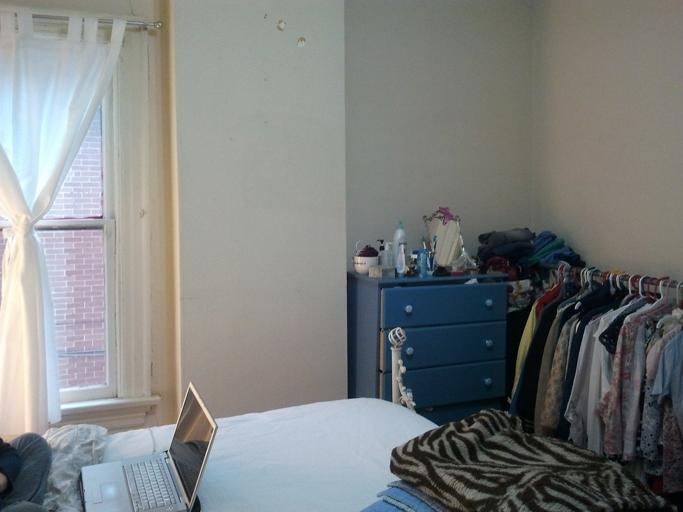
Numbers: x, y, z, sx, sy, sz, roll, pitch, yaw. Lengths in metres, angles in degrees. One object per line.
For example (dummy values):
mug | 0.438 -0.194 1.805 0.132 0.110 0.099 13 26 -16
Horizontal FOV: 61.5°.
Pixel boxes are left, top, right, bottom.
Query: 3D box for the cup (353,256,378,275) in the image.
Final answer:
cup | 0.144 0.059 3.455 0.104 0.077 0.103 1 -4 0

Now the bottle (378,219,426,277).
bottle | 0.346 -0.038 3.504 0.320 0.384 0.263 -1 2 -10

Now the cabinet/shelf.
cabinet/shelf | 0.601 0.548 3.557 0.831 0.965 0.488 -4 12 -7
